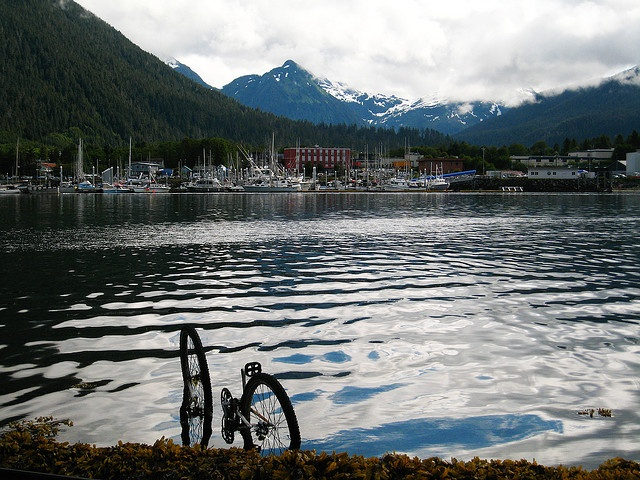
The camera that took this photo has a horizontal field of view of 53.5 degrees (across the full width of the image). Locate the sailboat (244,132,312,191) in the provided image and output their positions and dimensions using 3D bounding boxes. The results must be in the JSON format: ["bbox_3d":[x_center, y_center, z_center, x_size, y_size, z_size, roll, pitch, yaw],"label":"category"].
[{"bbox_3d":[-16.730,-19.967,213.475,16.866,22.655,13.980,3,8,43],"label":"sailboat"}]
